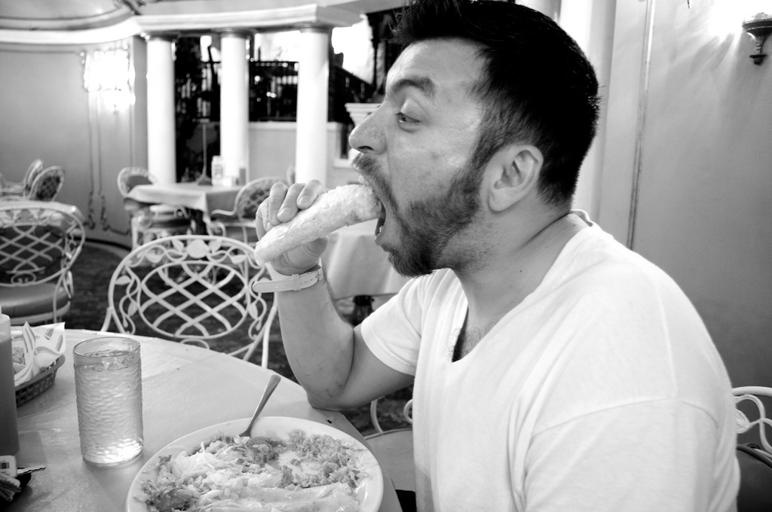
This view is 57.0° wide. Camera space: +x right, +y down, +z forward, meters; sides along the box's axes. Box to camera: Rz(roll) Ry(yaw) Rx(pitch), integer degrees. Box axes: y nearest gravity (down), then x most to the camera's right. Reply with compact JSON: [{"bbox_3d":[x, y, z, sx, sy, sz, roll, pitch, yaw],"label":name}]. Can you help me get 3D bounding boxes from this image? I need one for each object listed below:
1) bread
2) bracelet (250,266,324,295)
[{"bbox_3d":[-0.191,-0.099,2.070,0.406,0.103,0.231,-25,20,0],"label":"bread"},{"bbox_3d":[-0.289,0.079,2.095,0.132,0.047,0.101,-11,-8,11],"label":"bracelet"}]
